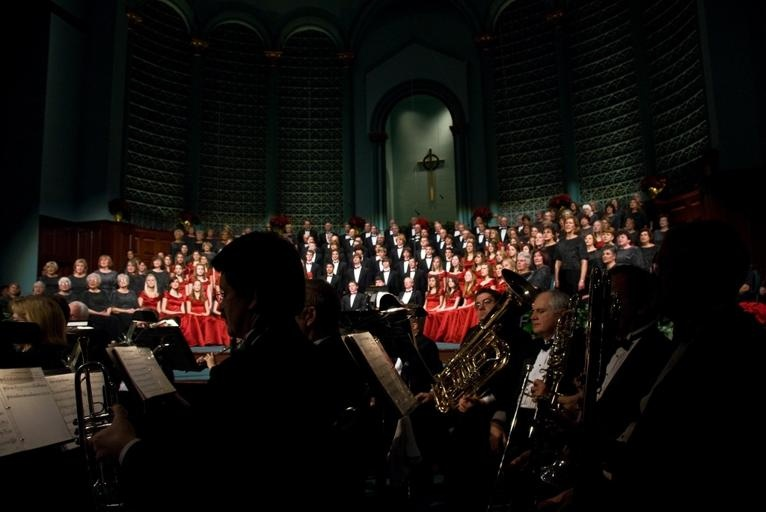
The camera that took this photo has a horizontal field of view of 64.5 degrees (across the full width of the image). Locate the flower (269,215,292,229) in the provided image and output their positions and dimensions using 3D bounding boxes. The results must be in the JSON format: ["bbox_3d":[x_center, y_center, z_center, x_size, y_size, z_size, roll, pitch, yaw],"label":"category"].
[{"bbox_3d":[-2.618,-0.856,15.428,0.369,0.394,0.384,-8,-1,25],"label":"flower"}]

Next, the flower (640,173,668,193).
[{"bbox_3d":[5.584,-1.480,12.471,0.396,0.351,0.407,0,-8,-1],"label":"flower"}]

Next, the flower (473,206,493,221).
[{"bbox_3d":[2.348,-1.015,14.523,0.390,0.415,0.405,5,5,34],"label":"flower"}]

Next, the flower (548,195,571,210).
[{"bbox_3d":[3.763,-1.145,12.860,0.332,0.351,0.341,-3,6,-3],"label":"flower"}]

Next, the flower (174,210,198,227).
[{"bbox_3d":[-5.248,-1.042,16.158,0.439,0.480,0.405,-8,38,-7],"label":"flower"}]

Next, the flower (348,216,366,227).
[{"bbox_3d":[-0.669,-0.873,15.513,0.316,0.276,0.318,3,-1,-17],"label":"flower"}]

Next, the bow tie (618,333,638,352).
[{"bbox_3d":[1.791,0.635,4.418,0.157,0.040,0.102,-33,34,-2],"label":"bow tie"}]
